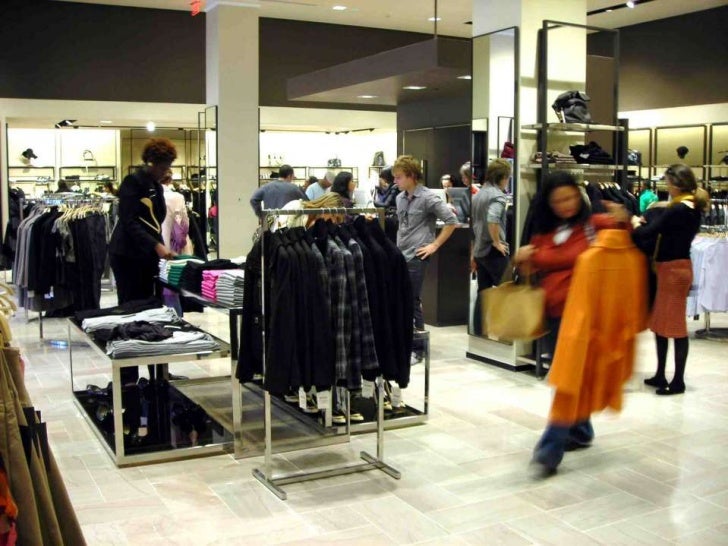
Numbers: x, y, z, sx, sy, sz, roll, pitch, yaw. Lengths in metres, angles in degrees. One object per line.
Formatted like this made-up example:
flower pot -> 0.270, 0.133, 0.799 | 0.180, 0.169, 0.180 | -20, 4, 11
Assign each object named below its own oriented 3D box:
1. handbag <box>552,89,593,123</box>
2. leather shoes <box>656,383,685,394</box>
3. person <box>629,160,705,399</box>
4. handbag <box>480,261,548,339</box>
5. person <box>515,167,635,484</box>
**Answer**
handbag -> 2.224, -1.726, 6.293 | 0.380, 0.336, 0.372 | -2, 3, -45
leather shoes -> 2.897, 1.097, 5.599 | 0.304, 0.112, 0.101 | 1, 1, -3
person -> 2.837, 0.066, 5.497 | 0.559, 2.142, 0.759 | 4, 8, 30
handbag -> 0.968, 0.246, 3.759 | 0.366, 0.325, 0.222 | 2, 7, 18
person -> 1.327, 0.344, 3.870 | 0.670, 1.991, 0.879 | 2, 7, 14
